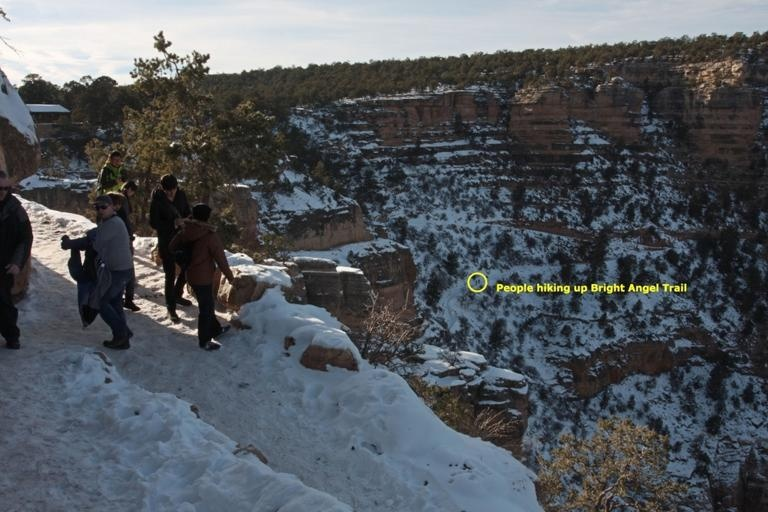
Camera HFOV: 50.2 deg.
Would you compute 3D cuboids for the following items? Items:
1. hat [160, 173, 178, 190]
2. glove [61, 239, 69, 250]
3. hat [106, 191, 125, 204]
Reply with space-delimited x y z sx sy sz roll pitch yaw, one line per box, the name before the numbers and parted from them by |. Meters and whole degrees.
hat | -12.696 -4.380 48.306 0.700 0.924 0.922 1 16 -5
glove | -18.193 -0.613 46.751 0.470 0.481 0.459 -5 -11 40
hat | -15.659 -3.348 47.671 0.629 0.828 0.806 -1 17 -43
